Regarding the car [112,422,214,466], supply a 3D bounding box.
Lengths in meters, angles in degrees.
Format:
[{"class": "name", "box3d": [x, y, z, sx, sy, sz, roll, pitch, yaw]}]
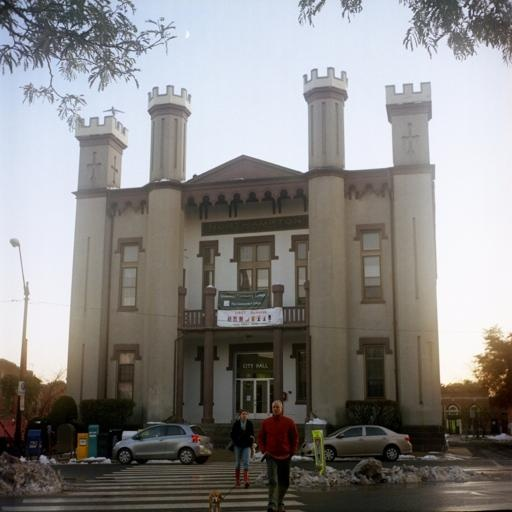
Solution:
[{"class": "car", "box3d": [-3.144, 6.530, 21.531, 2.460, 1.295, 1.576, 1, -14, 8]}]

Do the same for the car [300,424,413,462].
[{"class": "car", "box3d": [3.909, 6.621, 22.144, 2.946, 1.196, 1.403, 1, -12, 1]}]

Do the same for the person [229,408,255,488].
[{"class": "person", "box3d": [-0.326, 4.490, 14.558, 0.538, 1.690, 1.390, -1, -12, -1]}]
